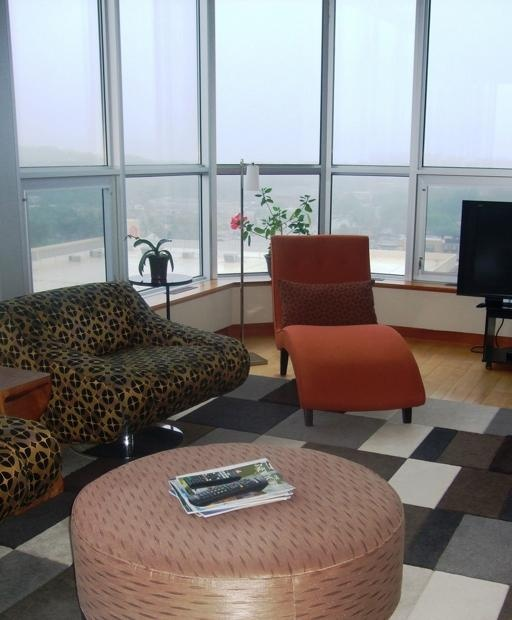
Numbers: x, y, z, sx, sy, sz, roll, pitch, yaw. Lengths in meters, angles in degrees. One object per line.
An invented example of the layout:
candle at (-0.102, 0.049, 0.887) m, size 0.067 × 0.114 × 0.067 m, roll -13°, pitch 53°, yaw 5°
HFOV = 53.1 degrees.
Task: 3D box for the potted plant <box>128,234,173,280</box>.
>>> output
potted plant at (-0.736, -0.390, 3.690) m, size 0.295 × 0.311 × 0.233 m, roll -5°, pitch 4°, yaw -14°

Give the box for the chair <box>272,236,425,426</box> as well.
chair at (0.540, 0.057, 3.331) m, size 0.760 × 0.871 × 1.319 m, roll -2°, pitch 18°, yaw -7°
